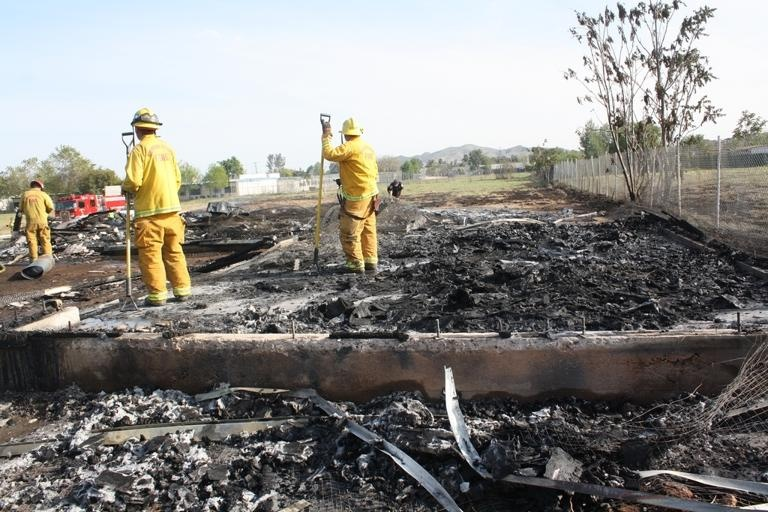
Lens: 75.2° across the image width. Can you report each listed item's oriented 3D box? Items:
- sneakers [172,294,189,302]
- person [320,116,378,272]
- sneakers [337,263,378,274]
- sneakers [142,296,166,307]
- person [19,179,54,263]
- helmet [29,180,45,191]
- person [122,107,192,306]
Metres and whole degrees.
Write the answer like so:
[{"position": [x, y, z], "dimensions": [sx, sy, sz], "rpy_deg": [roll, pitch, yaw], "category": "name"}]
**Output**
[{"position": [-2.701, 0.548, 6.647], "dimensions": [0.117, 0.084, 0.113], "rpy_deg": [1, 2, 1], "category": "sneakers"}, {"position": [-0.498, -0.940, 7.848], "dimensions": [0.564, 2.377, 0.935], "rpy_deg": [3, 12, 44], "category": "person"}, {"position": [-0.467, 0.215, 7.835], "dimensions": [0.358, 0.125, 0.274], "rpy_deg": [-6, -8, 40], "category": "sneakers"}, {"position": [-2.982, 0.582, 6.450], "dimensions": [0.260, 0.156, 0.141], "rpy_deg": [-2, 4, 19], "category": "sneakers"}, {"position": [-8.555, -0.839, 12.343], "dimensions": [0.734, 1.955, 0.706], "rpy_deg": [-2, 4, -26], "category": "person"}, {"position": [-8.624, -1.755, 12.319], "dimensions": [0.280, 0.319, 0.292], "rpy_deg": [2, 8, 3], "category": "helmet"}, {"position": [-2.922, -0.483, 6.452], "dimensions": [0.721, 2.193, 0.479], "rpy_deg": [-13, 12, -42], "category": "person"}]
